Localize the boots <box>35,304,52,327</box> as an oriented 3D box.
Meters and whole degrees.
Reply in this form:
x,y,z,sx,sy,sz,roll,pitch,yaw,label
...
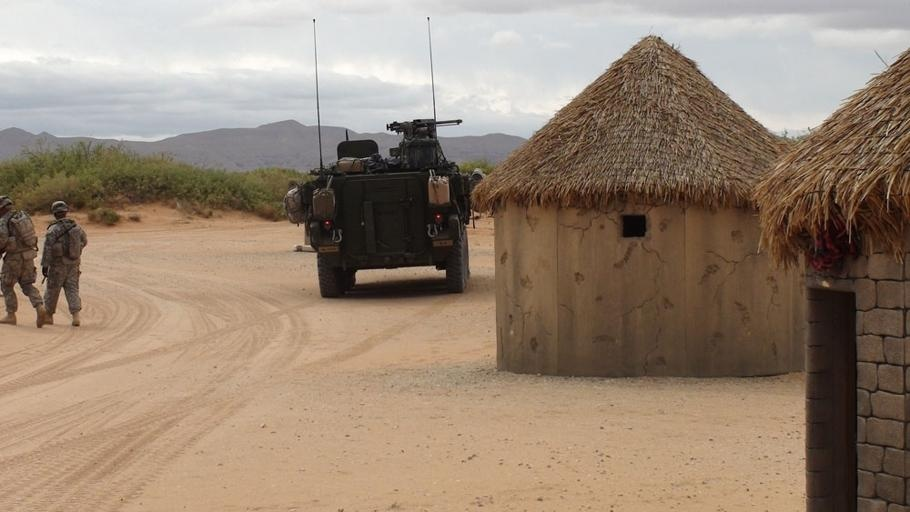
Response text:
x,y,z,sx,sy,sz,roll,pitch,yaw,label
-8.491,1.222,18.002,0.215,0.517,0.414,-3,7,-41,boots

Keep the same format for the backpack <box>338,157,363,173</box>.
x,y,z,sx,sy,sz,roll,pitch,yaw,label
-2.571,-2.218,21.560,0.390,0.219,0.502,2,6,28,backpack

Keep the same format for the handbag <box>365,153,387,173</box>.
x,y,z,sx,sy,sz,roll,pitch,yaw,label
-2.052,-2.428,22.883,0.431,0.242,0.622,1,9,6,handbag

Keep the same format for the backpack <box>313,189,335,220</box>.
x,y,z,sx,sy,sz,roll,pitch,yaw,label
-3.153,-1.250,21.120,0.555,0.780,0.257,-1,12,-3,backpack
